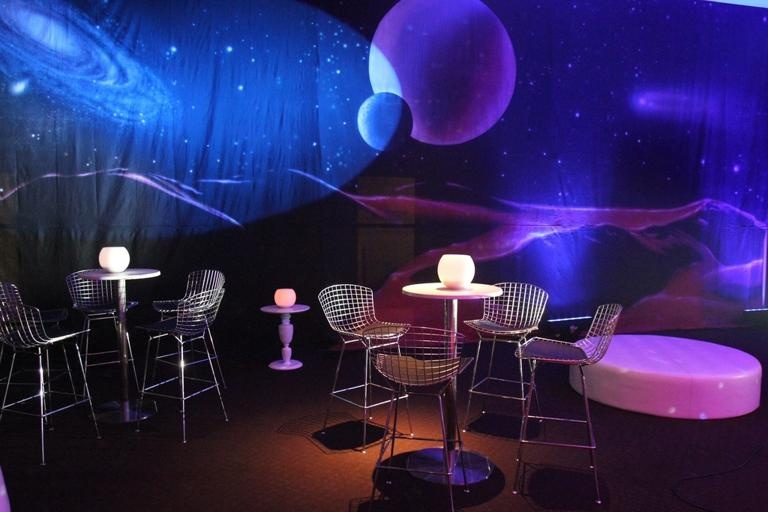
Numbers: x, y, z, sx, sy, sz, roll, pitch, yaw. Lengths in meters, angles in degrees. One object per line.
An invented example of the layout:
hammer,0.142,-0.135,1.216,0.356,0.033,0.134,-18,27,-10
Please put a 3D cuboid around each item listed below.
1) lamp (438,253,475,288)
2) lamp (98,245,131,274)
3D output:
lamp,0.665,0.133,5.278,0.298,0.289,0.302,0,9,-1
lamp,-2.723,0.044,5.801,0.289,0.263,0.292,0,8,-17
